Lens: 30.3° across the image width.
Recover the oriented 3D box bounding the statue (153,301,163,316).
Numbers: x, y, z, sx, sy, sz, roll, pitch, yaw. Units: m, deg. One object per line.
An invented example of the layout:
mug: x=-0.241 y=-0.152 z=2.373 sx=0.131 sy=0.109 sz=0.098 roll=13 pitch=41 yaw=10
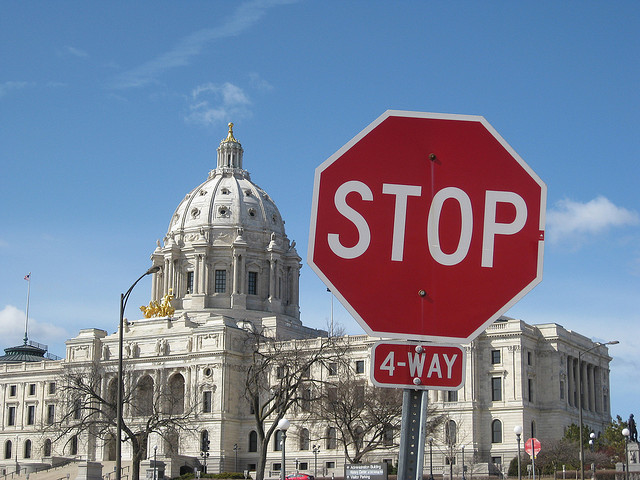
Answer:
statue: x=-19.795 y=8.538 z=143.001 sx=0.832 sy=1.874 sz=1.840 roll=8 pitch=-17 yaw=-23
